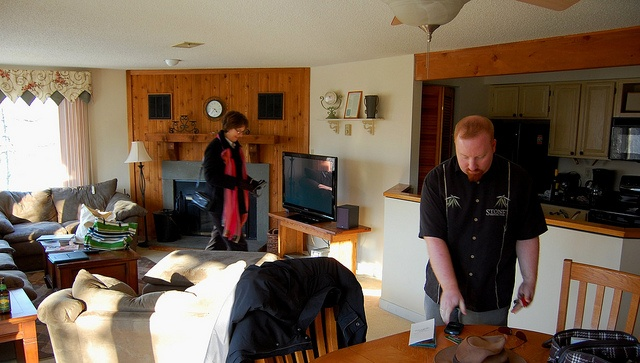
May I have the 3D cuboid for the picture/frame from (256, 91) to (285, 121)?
[{"bbox_3d":[-0.846,-1.338,7.557,0.619,0.511,0.201,1,1,15],"label":"picture/frame"}]

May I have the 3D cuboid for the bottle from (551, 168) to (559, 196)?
[{"bbox_3d":[3.816,0.019,6.985,0.114,0.434,0.281,6,11,27],"label":"bottle"}]

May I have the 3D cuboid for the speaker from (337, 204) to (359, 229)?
[{"bbox_3d":[0.405,0.506,6.456,0.359,0.309,0.339,8,13,38],"label":"speaker"}]

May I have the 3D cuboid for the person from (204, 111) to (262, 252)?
[{"bbox_3d":[-1.196,0.026,5.772,0.683,1.913,0.426,-3,11,-20],"label":"person"}]

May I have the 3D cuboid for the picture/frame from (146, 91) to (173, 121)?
[{"bbox_3d":[-2.955,-1.377,7.918,0.046,0.478,0.545,12,15,27],"label":"picture/frame"}]

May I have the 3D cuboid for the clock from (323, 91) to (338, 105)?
[{"bbox_3d":[0.174,-1.342,6.957,0.223,0.203,0.054,27,26,34],"label":"clock"}]

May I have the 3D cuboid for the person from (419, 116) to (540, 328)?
[{"bbox_3d":[1.348,0.347,3.512,1.007,1.736,0.532,0,10,-7],"label":"person"}]

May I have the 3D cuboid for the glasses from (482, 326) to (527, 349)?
[{"bbox_3d":[1.458,1.189,3.297,0.189,0.056,0.205,13,24,43],"label":"glasses"}]

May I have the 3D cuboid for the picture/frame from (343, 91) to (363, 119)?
[{"bbox_3d":[0.506,-1.188,6.694,0.277,0.429,0.171,7,12,34],"label":"picture/frame"}]

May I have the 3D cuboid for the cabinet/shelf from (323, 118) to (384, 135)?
[{"bbox_3d":[0.482,-0.854,6.763,0.286,0.281,1.085,-7,11,-40],"label":"cabinet/shelf"}]

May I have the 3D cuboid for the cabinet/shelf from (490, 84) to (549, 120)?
[{"bbox_3d":[3.367,-1.335,7.194,0.733,0.392,0.279,3,4,38],"label":"cabinet/shelf"}]

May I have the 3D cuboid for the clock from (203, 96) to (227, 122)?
[{"bbox_3d":[-1.897,-1.305,7.793,0.489,0.420,0.036,11,14,25],"label":"clock"}]
